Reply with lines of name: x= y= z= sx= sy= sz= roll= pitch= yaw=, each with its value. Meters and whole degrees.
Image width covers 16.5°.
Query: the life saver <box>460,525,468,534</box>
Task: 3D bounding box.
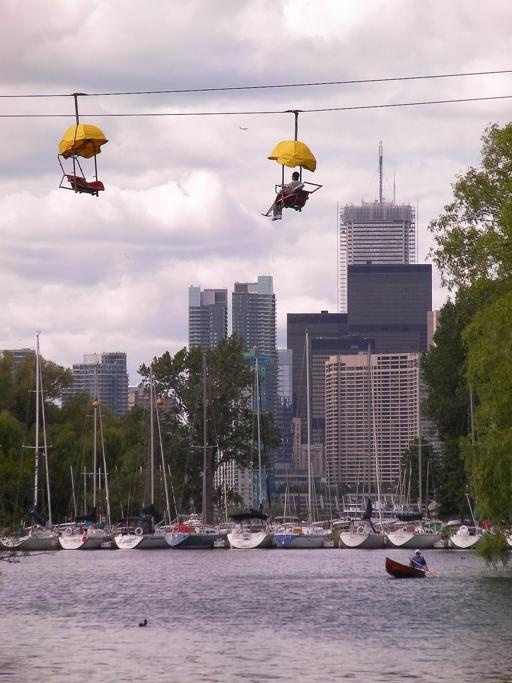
life saver: x=12.609 y=11.505 z=107.654 sx=0.606 sy=0.575 sz=1.580 roll=-4 pitch=-8 yaw=6

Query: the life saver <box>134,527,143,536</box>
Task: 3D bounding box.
life saver: x=-7.286 y=11.887 z=110.874 sx=0.503 sy=0.521 sz=2.088 roll=-3 pitch=-8 yaw=-4

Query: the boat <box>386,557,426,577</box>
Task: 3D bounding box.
boat: x=6.538 y=9.930 z=77.423 sx=1.670 sy=0.995 sz=1.719 roll=-4 pitch=-8 yaw=2

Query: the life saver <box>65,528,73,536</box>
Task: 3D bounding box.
life saver: x=-11.878 y=12.071 z=112.104 sx=0.592 sy=0.535 sz=2.235 roll=-3 pitch=-8 yaw=-6
